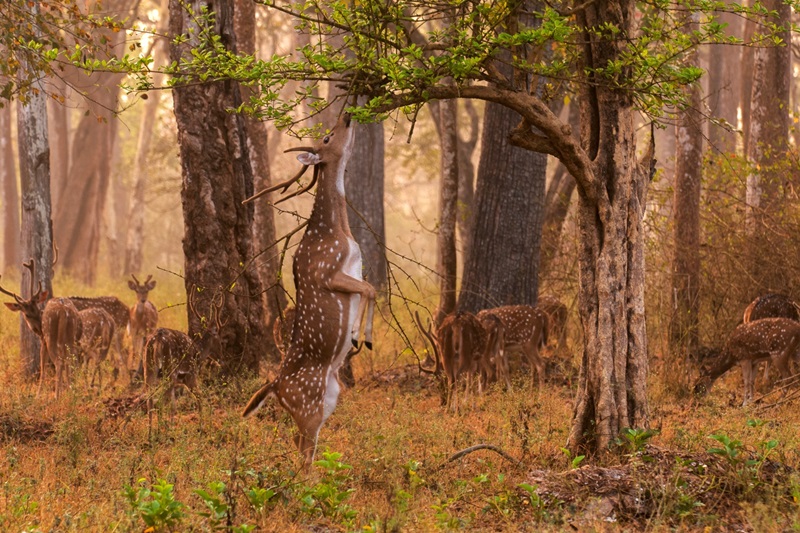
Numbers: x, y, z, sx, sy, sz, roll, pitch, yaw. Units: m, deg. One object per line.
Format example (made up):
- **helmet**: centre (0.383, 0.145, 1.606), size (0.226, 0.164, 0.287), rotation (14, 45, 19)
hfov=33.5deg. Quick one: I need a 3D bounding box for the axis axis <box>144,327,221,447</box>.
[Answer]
- **axis axis**: centre (-4.086, 1.958, 24.031), size (1.105, 1.673, 1.086), rotation (4, -4, -11)
